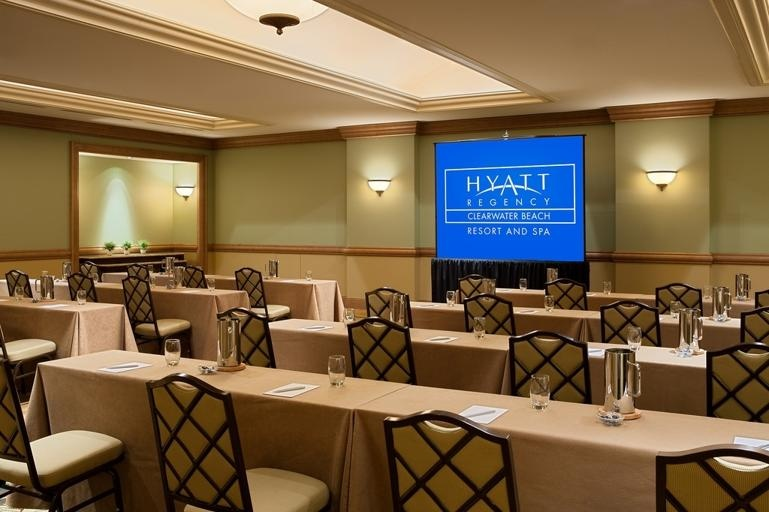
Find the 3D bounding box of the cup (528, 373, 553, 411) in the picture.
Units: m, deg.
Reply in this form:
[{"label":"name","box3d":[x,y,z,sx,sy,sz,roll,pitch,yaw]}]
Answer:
[{"label":"cup","box3d":[0.858,0.737,2.823,0.092,0.182,0.156,-1,2,21]}]

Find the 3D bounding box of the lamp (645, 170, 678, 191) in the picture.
[{"label":"lamp","box3d":[4.572,-1.275,8.457,0.365,0.259,0.342,1,-7,1]}]

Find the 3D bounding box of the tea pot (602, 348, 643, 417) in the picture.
[{"label":"tea pot","box3d":[1.234,0.653,2.665,0.193,0.360,0.194,-2,2,0]}]

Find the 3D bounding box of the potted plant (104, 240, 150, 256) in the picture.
[{"label":"potted plant","box3d":[-6.309,-0.188,12.589,1.011,0.371,0.310,1,-5,-14]}]

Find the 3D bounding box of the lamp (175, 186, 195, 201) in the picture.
[{"label":"lamp","box3d":[-5.244,-1.647,13.479,0.627,0.393,0.216,-1,2,28]}]

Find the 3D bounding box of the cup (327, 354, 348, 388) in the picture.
[{"label":"cup","box3d":[-0.286,0.720,3.279,0.175,0.252,0.179,-1,0,0]}]
